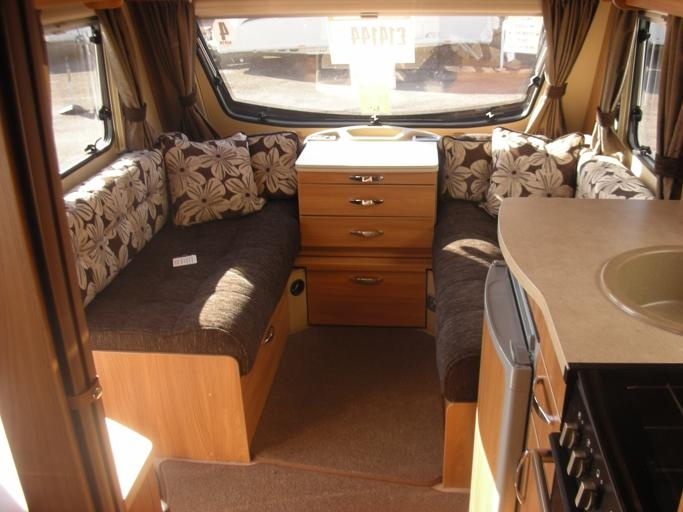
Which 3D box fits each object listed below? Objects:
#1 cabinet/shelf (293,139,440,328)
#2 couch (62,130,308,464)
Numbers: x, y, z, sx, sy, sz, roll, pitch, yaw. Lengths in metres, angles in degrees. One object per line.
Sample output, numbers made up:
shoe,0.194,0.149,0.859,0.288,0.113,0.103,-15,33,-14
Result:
cabinet/shelf,0.146,0.007,3.240,0.784,0.517,1.033,2,65,0
couch,-0.682,0.183,2.326,0.651,0.788,1.363,0,32,-1
